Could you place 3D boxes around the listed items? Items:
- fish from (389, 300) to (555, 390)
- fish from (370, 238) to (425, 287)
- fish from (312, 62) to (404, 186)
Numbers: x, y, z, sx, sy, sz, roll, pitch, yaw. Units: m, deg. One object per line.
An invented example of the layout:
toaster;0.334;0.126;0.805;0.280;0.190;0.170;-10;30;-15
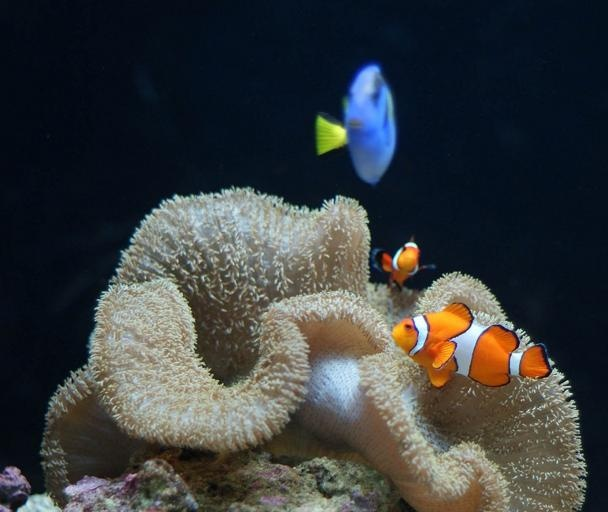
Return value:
fish;0.632;0.367;2.792;0.578;0.205;0.339;6;60;26
fish;0.403;0.038;3.421;0.176;0.195;0.263;-12;16;-33
fish;0.223;-0.520;2.878;0.234;0.288;0.452;4;6;-4
